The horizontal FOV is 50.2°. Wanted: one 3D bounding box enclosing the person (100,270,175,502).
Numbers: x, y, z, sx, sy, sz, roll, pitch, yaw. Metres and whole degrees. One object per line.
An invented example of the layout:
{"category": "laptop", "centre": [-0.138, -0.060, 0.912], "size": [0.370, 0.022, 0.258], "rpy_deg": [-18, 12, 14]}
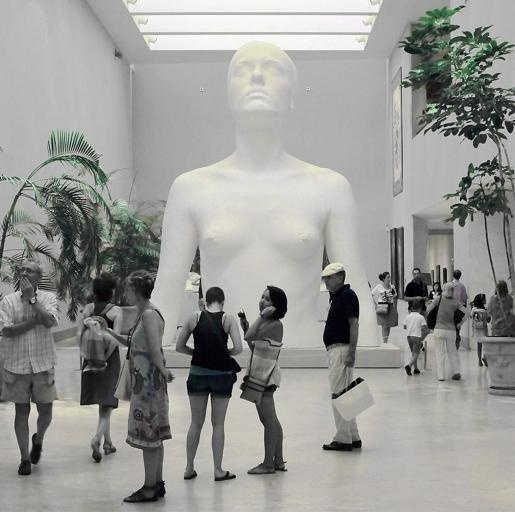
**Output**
{"category": "person", "centre": [-0.636, 0.740, 3.206], "size": [0.271, 1.298, 0.508], "rpy_deg": [1, -3, -14]}

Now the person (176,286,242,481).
{"category": "person", "centre": [-0.304, 0.803, 3.436], "size": [0.400, 1.205, 0.278], "rpy_deg": [0, -3, -3]}

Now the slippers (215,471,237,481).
{"category": "slippers", "centre": [-0.200, 1.373, 3.443], "size": [0.100, 0.042, 0.057], "rpy_deg": [-4, 6, -31]}

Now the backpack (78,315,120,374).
{"category": "backpack", "centre": [-1.160, 0.633, 3.930], "size": [0.238, 0.412, 0.157], "rpy_deg": [0, -8, -4]}

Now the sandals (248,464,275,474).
{"category": "sandals", "centre": [0.030, 1.398, 3.610], "size": [0.118, 0.060, 0.076], "rpy_deg": [4, -8, -3]}

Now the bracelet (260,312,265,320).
{"category": "bracelet", "centre": [0.030, 0.394, 3.596], "size": [0.026, 0.037, 0.045], "rpy_deg": [3, -4, -40]}

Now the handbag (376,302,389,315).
{"category": "handbag", "centre": [2.414, 1.020, 10.659], "size": [0.212, 0.215, 0.179], "rpy_deg": [-1, -2, 20]}

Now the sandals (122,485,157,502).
{"category": "sandals", "centre": [-0.651, 1.297, 3.035], "size": [0.138, 0.075, 0.089], "rpy_deg": [3, -7, 1]}

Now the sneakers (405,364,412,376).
{"category": "sneakers", "centre": [2.144, 1.619, 7.849], "size": [0.052, 0.207, 0.076], "rpy_deg": [-2, 13, 20]}

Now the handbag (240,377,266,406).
{"category": "handbag", "centre": [-0.031, 0.901, 3.539], "size": [0.124, 0.130, 0.160], "rpy_deg": [16, -20, 40]}

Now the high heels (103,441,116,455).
{"category": "high heels", "centre": [-1.134, 1.473, 4.229], "size": [0.042, 0.105, 0.127], "rpy_deg": [0, 4, 8]}

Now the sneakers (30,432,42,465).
{"category": "sneakers", "centre": [-1.586, 1.378, 3.933], "size": [0.063, 0.253, 0.090], "rpy_deg": [-1, 4, -11]}

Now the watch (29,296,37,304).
{"category": "watch", "centre": [-1.483, 0.289, 3.636], "size": [0.035, 0.063, 0.053], "rpy_deg": [-11, 2, -14]}

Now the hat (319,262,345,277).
{"category": "hat", "centre": [0.571, 0.110, 4.206], "size": [0.125, 0.081, 0.106], "rpy_deg": [-1, -4, -16]}

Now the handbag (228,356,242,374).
{"category": "handbag", "centre": [-0.139, 0.672, 3.414], "size": [0.068, 0.108, 0.099], "rpy_deg": [10, -52, -28]}
